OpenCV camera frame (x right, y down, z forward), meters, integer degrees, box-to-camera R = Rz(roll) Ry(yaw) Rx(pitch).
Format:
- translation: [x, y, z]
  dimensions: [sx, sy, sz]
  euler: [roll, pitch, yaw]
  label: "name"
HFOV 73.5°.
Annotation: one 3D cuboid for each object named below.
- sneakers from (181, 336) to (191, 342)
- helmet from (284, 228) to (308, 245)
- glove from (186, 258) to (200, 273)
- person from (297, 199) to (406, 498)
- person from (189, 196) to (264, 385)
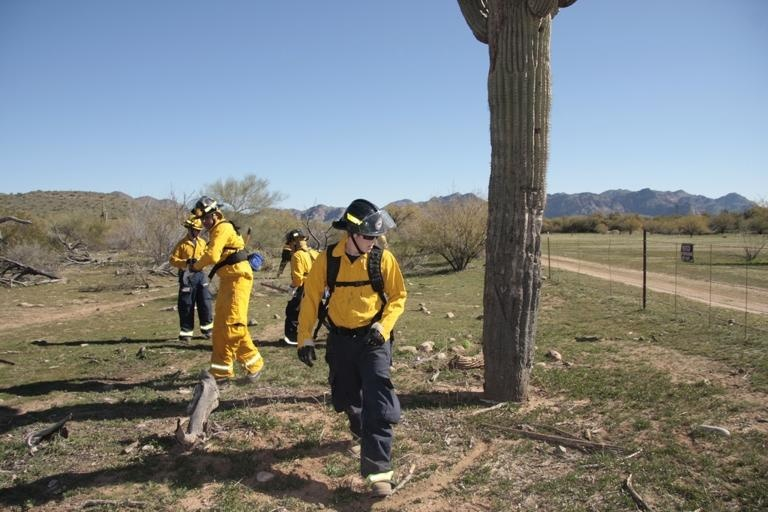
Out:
- translation: [-4.755, 1.737, 12.247]
  dimensions: [0.141, 0.105, 0.141]
  euler: [5, -5, -21]
  label: "sneakers"
- translation: [-2.030, -0.586, 12.137]
  dimensions: [0.456, 0.393, 0.337]
  euler: [-22, 28, -40]
  label: "helmet"
- translation: [-4.106, 0.056, 10.977]
  dimensions: [0.474, 0.237, 0.632]
  euler: [1, 4, -20]
  label: "glove"
- translation: [-0.289, 1.101, 7.669]
  dimensions: [1.365, 3.875, 1.037]
  euler: [9, 15, 38]
  label: "person"
- translation: [-3.016, 0.542, 9.908]
  dimensions: [1.089, 3.385, 1.337]
  euler: [-5, 12, -20]
  label: "person"
